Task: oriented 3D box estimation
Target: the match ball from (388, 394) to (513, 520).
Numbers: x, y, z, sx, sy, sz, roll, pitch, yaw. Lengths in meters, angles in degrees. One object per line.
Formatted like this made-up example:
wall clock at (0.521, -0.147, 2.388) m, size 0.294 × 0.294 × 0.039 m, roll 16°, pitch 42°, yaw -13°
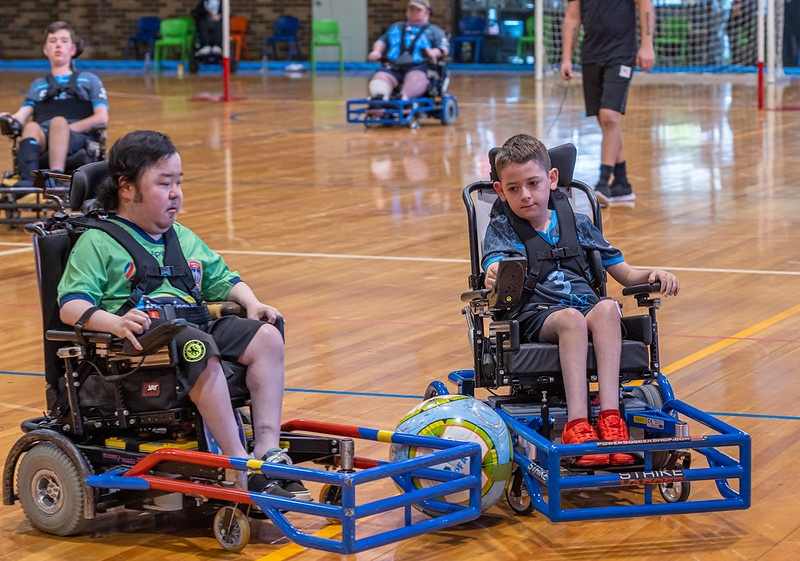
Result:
match ball at (0.188, 0.646, 3.004) m, size 0.359 × 0.377 × 0.375 m, roll -1°, pitch 10°, yaw 0°

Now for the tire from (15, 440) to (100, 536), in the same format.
tire at (-1.230, 0.754, 2.951) m, size 0.365 × 0.327 × 0.104 m, roll -5°, pitch -1°, yaw 32°

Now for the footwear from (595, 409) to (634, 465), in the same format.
footwear at (0.758, 0.559, 2.966) m, size 0.093 × 0.103 × 0.256 m, roll -5°, pitch 16°, yaw -4°

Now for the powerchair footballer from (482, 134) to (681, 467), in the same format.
powerchair footballer at (0.815, 0.022, 3.229) m, size 0.718 × 1.241 × 0.857 m, roll -1°, pitch 3°, yaw -12°

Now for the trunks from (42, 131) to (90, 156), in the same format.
trunks at (-3.072, -1.303, 7.655) m, size 0.335 × 0.278 × 0.268 m, roll 2°, pitch 5°, yaw -7°

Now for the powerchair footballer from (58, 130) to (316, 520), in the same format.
powerchair footballer at (-0.726, 0.095, 3.011) m, size 1.026 × 1.196 × 0.825 m, roll 11°, pitch 13°, yaw 33°

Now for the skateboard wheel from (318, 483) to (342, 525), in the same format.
skateboard wheel at (-0.255, 0.776, 2.990) m, size 0.071 × 0.084 × 0.186 m, roll -3°, pitch 9°, yaw -10°
